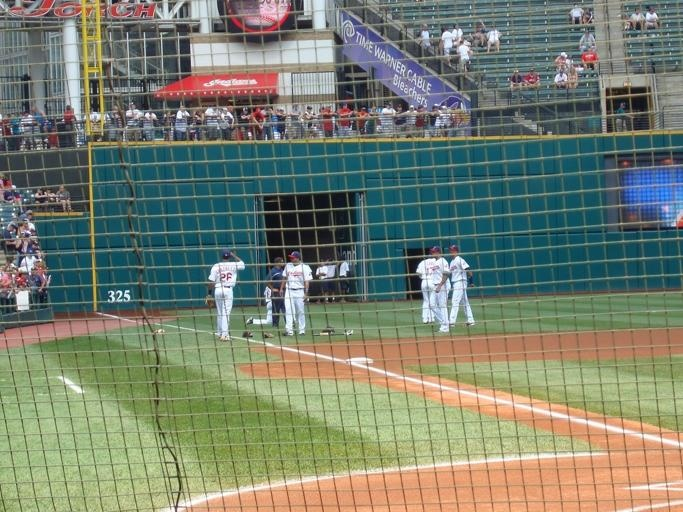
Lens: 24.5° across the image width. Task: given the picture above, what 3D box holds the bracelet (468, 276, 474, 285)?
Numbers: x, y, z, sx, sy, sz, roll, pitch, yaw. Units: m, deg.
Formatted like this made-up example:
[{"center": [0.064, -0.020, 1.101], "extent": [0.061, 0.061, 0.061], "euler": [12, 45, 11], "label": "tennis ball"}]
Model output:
[{"center": [1.149, 0.228, 14.072], "extent": [0.035, 0.031, 0.161], "euler": [-20, -9, 9], "label": "bracelet"}]

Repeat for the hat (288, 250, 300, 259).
[{"center": [-0.612, 0.000, 20.677], "extent": [0.163, 0.072, 0.110], "euler": [10, -4, -7], "label": "hat"}]
